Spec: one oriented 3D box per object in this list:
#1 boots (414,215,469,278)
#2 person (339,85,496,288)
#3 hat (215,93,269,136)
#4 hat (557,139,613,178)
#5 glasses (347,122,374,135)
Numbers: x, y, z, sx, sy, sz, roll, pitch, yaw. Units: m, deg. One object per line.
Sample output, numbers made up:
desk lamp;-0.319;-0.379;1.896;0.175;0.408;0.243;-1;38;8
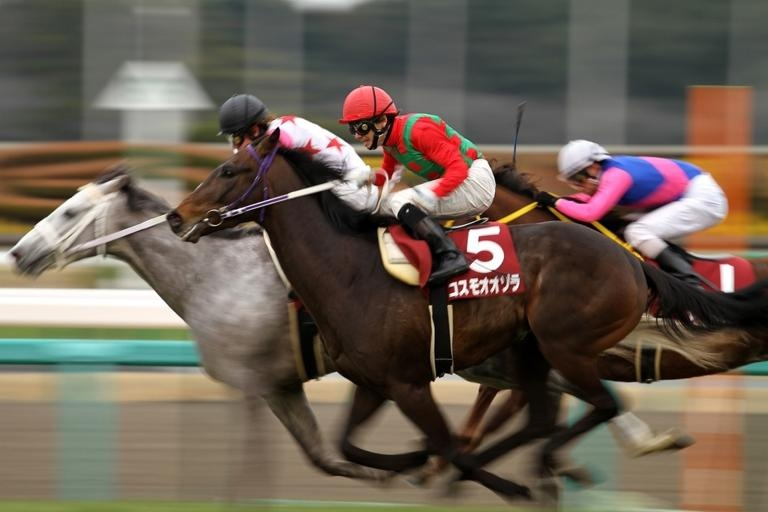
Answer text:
boots;0.307;-0.031;7.016;0.257;0.337;0.229;-1;11;-3
person;0.225;-0.415;7.290;0.757;1.003;0.955;-6;11;-28
hat;-0.827;-0.829;7.700;0.355;0.147;0.212;-19;15;-20
hat;1.143;-0.570;7.623;0.325;0.141;0.212;-23;3;-33
glasses;-0.139;-0.701;7.312;0.101;0.034;0.090;1;31;40
